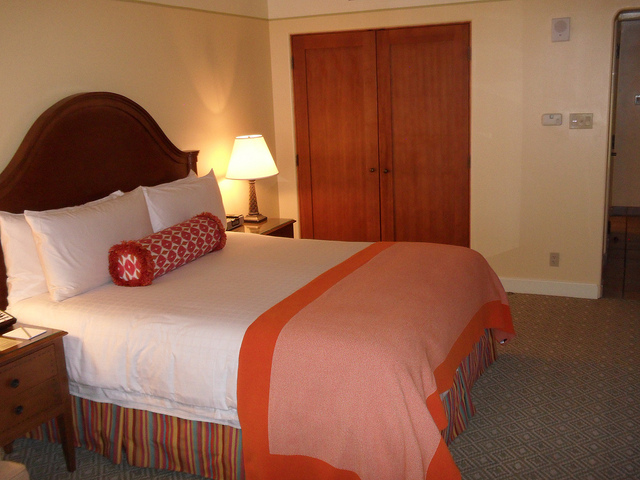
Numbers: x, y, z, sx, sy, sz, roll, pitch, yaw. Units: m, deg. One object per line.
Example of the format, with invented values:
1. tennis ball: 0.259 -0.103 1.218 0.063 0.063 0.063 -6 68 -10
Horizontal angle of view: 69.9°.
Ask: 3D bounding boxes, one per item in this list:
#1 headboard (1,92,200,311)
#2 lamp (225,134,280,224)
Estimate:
1. headboard: -1.505 -0.238 3.059 0.057 1.026 1.311 0 21 22
2. lamp: -0.691 -0.594 4.567 0.456 0.842 0.485 -2 14 4
